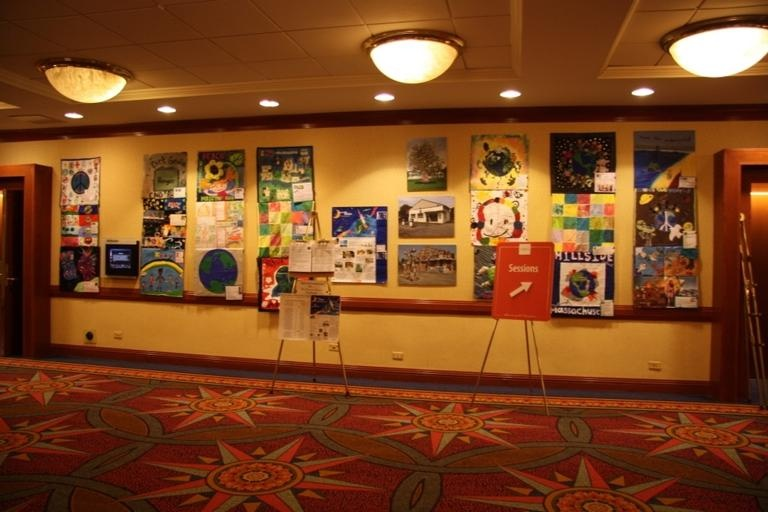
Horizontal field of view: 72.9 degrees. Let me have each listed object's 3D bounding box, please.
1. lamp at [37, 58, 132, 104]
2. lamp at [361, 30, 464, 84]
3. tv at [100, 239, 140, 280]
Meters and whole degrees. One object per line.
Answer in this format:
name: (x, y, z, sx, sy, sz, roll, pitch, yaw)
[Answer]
lamp: (-3.562, -2.140, 6.290, 0.704, 0.194, 0.651, 2, -4, -34)
lamp: (0.370, -2.188, 6.047, 1.288, 0.349, 1.147, 1, 2, 14)
tv: (-4.065, 0.043, 8.066, 0.833, 0.616, 0.405, 1, 4, 6)
